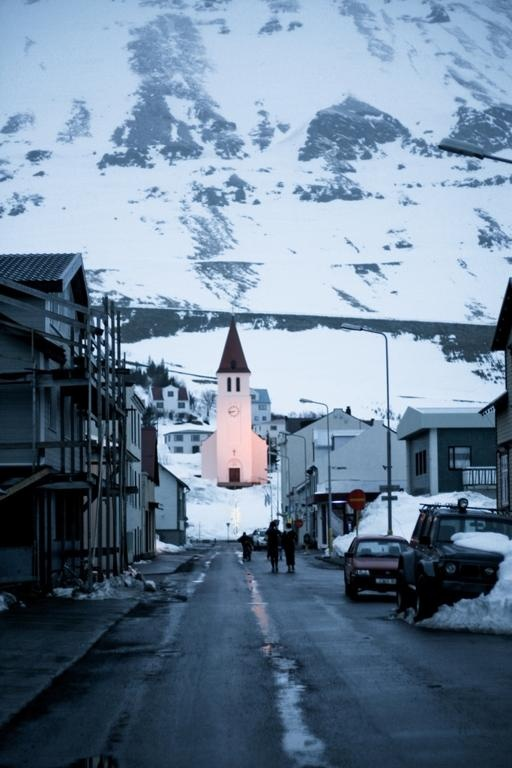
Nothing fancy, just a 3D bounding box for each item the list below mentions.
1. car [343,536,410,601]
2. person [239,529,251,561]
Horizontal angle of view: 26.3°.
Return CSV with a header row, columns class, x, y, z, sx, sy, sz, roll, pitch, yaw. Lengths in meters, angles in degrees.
class,x,y,z,sx,sy,sz,roll,pitch,yaw
car,2.358,3.661,22.233,0.912,0.938,1.795,0,-14,-4
person,-0.448,7.160,48.166,0.652,1.004,1.506,1,-5,-1
